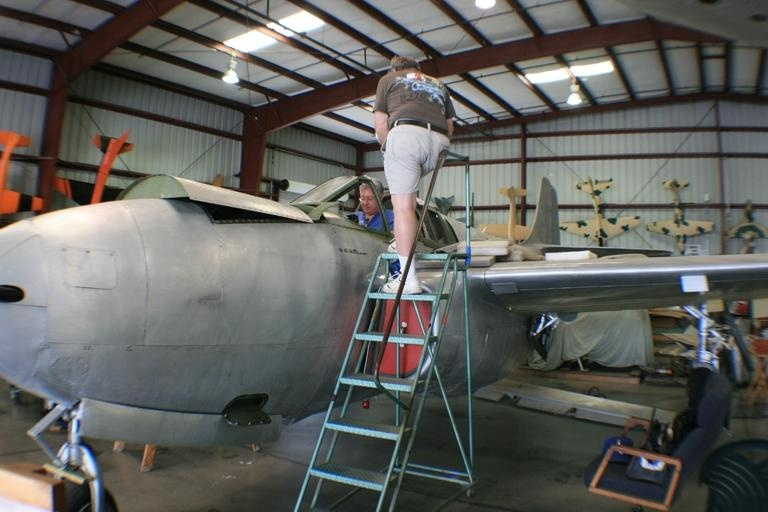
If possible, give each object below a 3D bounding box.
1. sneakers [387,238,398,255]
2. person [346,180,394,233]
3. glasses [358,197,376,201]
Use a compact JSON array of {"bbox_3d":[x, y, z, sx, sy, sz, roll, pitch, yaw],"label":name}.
[{"bbox_3d":[0.082,-0.094,6.591,0.082,0.084,0.199,9,7,-13],"label":"sneakers"},{"bbox_3d":[-0.092,-0.661,7.864,0.486,0.556,1.123,-4,9,-32],"label":"person"},{"bbox_3d":[-0.238,-0.772,8.008,0.110,0.025,0.096,-4,-19,18],"label":"glasses"}]
